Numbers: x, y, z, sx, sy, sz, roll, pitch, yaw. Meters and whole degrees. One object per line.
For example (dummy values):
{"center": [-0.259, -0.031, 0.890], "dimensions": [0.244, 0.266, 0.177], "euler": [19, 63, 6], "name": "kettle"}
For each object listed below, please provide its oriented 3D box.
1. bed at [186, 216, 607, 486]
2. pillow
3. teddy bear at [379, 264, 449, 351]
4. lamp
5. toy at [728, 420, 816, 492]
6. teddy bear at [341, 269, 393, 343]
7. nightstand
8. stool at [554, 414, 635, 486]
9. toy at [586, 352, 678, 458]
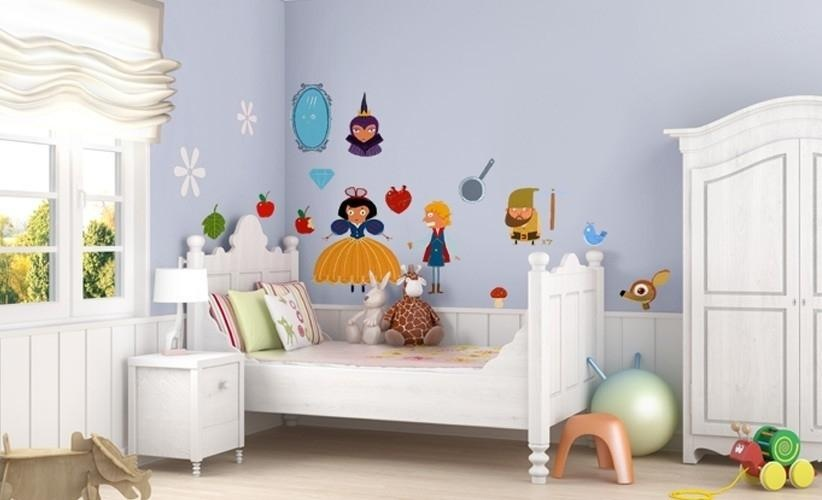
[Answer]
{"center": [-0.062, 0.834, 5.563], "dimensions": [3.156, 1.667, 1.938], "euler": [-5, -5, 24], "name": "bed"}
{"center": [-1.197, 0.563, 5.062], "dimensions": [0.238, 0.507, 0.806], "euler": [-24, -10, 38], "name": "pillow"}
{"center": [-0.013, 0.474, 5.392], "dimensions": [0.563, 0.697, 0.510], "euler": [-1, -1, -32], "name": "teddy bear"}
{"center": [-1.688, 0.443, 4.701], "dimensions": [0.369, 0.621, 0.437], "euler": [-2, 2, -22], "name": "lamp"}
{"center": [2.396, 1.389, 4.463], "dimensions": [0.616, 0.482, 0.339], "euler": [-2, 0, -19], "name": "toy"}
{"center": [-0.380, 0.510, 5.531], "dimensions": [0.405, 0.619, 0.359], "euler": [1, -2, -9], "name": "teddy bear"}
{"center": [-1.637, 1.177, 4.721], "dimensions": [0.742, 0.739, 0.782], "euler": [-6, -9, 36], "name": "nightstand"}
{"center": [1.314, 1.371, 4.599], "dimensions": [0.522, 0.367, 0.505], "euler": [-1, -7, 15], "name": "stool"}
{"center": [1.739, 1.185, 4.986], "dimensions": [0.651, 0.773, 0.680], "euler": [-27, -19, 39], "name": "toy"}
